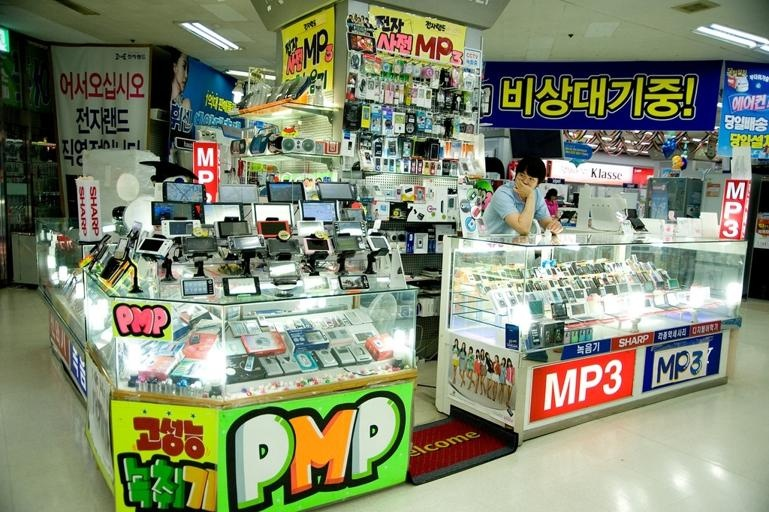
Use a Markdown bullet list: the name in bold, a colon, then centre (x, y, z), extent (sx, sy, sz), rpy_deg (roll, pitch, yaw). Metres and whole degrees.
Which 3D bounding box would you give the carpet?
- **carpet**: centre (0.654, 1.839, 5.596), extent (1.169, 0.276, 0.759), rpy_deg (-6, 11, -23)

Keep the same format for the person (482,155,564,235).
- **person**: centre (1.650, -0.710, 6.470), extent (0.764, 0.891, 0.687), rpy_deg (-6, 10, -24)

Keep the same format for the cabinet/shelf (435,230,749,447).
- **cabinet/shelf**: centre (2.346, 0.725, 6.246), extent (3.510, 2.052, 0.811), rpy_deg (-6, 10, -22)

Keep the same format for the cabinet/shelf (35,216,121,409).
- **cabinet/shelf**: centre (-3.257, 0.614, 5.930), extent (0.676, 1.637, 1.913), rpy_deg (-3, 10, -32)
